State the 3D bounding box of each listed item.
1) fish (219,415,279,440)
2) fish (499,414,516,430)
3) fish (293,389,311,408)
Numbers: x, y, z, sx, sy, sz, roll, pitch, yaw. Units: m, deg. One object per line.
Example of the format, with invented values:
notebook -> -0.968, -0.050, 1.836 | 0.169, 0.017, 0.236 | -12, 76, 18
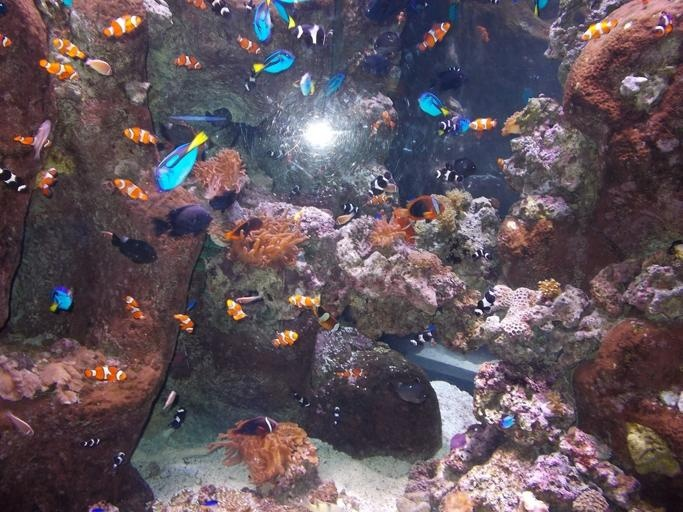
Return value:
fish -> -1.302, 2.455, 9.334 | 0.600, 0.297, 0.182 | -9, 35, 12
fish -> 2.293, 2.274, 9.019 | 0.206, 0.164, 0.093 | -15, 19, -10
fish -> -0.562, 2.097, 9.618 | 0.273, 0.187, 0.154 | 7, 13, 35
